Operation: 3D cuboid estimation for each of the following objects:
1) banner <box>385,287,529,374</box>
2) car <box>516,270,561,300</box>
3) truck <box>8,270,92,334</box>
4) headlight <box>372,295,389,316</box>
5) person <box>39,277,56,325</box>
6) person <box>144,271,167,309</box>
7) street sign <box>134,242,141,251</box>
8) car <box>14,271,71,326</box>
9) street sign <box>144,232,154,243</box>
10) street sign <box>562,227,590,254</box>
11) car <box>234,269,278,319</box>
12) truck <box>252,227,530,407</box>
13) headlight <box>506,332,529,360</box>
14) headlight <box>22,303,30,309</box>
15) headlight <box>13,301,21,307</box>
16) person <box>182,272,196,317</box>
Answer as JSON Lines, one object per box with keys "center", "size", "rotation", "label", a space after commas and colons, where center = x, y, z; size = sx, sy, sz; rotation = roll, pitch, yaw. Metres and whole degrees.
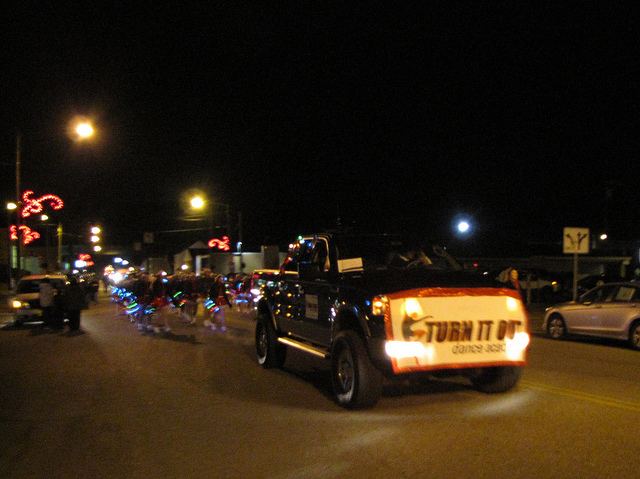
{"center": [1.867, 1.244, 6.441], "size": [2.021, 1.135, 0.129], "rotation": [2, -2, -12], "label": "banner"}
{"center": [16.430, 3.304, 35.126], "size": [2.216, 1.852, 3.887], "rotation": [-12, 1, -36], "label": "car"}
{"center": [-11.956, 2.741, 20.334], "size": [2.711, 2.629, 5.009], "rotation": [0, -9, -22], "label": "truck"}
{"center": [0.806, 0.910, 6.322], "size": [0.249, 0.459, 0.245], "rotation": [0, -5, 3], "label": "headlight"}
{"center": [-12.172, 2.668, 20.444], "size": [0.703, 2.292, 0.673], "rotation": [11, 19, 5], "label": "person"}
{"center": [-6.345, 1.969, 18.435], "size": [0.654, 1.332, 0.547], "rotation": [5, 29, -17], "label": "person"}
{"center": [-23.259, 0.947, 58.747], "size": [0.948, 1.039, 0.995], "rotation": [-5, -4, -17], "label": "street sign"}
{"center": [-12.968, 2.811, 21.051], "size": [1.586, 2.239, 2.401], "rotation": [3, -3, -31], "label": "car"}
{"center": [-21.058, -0.179, 57.057], "size": [1.327, 1.373, 1.309], "rotation": [0, 1, -45], "label": "street sign"}
{"center": [9.084, 0.032, 16.389], "size": [0.959, 1.061, 0.146], "rotation": [1, -11, 22], "label": "street sign"}
{"center": [-2.978, 2.639, 22.790], "size": [2.178, 2.273, 3.987], "rotation": [3, -11, -25], "label": "car"}
{"center": [0.845, 1.117, 8.502], "size": [2.603, 2.224, 4.920], "rotation": [1, -6, -23], "label": "truck"}
{"center": [2.818, 1.532, 6.676], "size": [0.251, 0.445, 0.104], "rotation": [11, 13, -20], "label": "headlight"}
{"center": [-12.936, 2.933, 20.300], "size": [0.300, 0.241, 0.083], "rotation": [1, -2, 2], "label": "headlight"}
{"center": [-13.385, 2.859, 20.361], "size": [0.257, 0.203, 0.262], "rotation": [1, -2, -13], "label": "headlight"}
{"center": [-5.549, 2.432, 19.650], "size": [0.432, 1.732, 1.082], "rotation": [2, -3, -18], "label": "person"}
